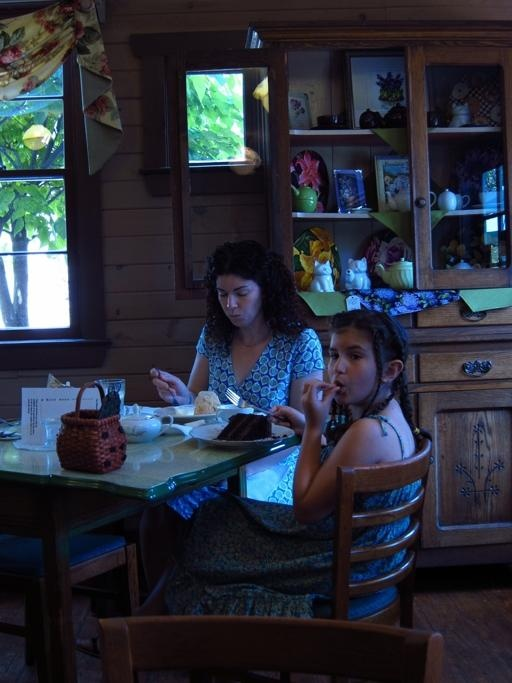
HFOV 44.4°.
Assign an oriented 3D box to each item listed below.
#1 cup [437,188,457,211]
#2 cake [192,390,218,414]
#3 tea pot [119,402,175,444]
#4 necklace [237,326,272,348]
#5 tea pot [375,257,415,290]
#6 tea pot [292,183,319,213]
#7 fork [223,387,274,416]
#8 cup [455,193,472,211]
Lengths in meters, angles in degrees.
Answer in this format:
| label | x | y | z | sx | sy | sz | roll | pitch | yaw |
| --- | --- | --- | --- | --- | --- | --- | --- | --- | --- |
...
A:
| label | x | y | z | sx | sy | sz | roll | pitch | yaw |
| --- | --- | --- | --- | --- | --- | --- | --- | --- | --- |
| cup | 0.707 | -0.535 | 2.386 | 0.081 | 0.091 | 0.079 | 0 | -3 | 0 |
| cake | -0.132 | 0.154 | 1.617 | 0.048 | 0.045 | 0.060 | 5 | -20 | 4 |
| tea pot | -0.246 | 0.177 | 1.420 | 0.105 | 0.055 | 0.075 | 0 | -2 | -37 |
| necklace | -0.004 | -0.017 | 2.049 | 0.088 | 0.062 | 0.067 | 7 | 5 | 21 |
| tea pot | 0.535 | -0.240 | 2.416 | 0.177 | 0.115 | 0.110 | 0 | 1 | 21 |
| tea pot | 0.187 | -0.541 | 2.390 | 0.079 | 0.098 | 0.125 | 7 | 10 | 42 |
| fork | -0.040 | 0.157 | 1.718 | 0.041 | 0.041 | 0.264 | 17 | -2 | -28 |
| cup | 0.789 | -0.535 | 2.396 | 0.080 | 0.074 | 0.048 | -3 | 4 | 17 |
